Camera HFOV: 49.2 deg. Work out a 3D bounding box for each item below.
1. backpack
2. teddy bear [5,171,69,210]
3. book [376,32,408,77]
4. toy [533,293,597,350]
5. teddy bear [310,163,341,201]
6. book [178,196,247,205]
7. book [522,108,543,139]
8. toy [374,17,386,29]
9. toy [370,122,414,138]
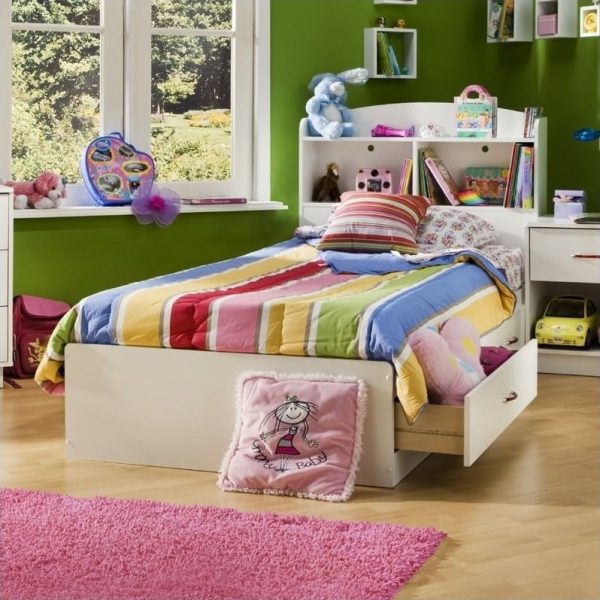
[{"bbox_3d":[-1.279,0.177,3.196,0.320,0.407,0.135,-5,10,-26],"label":"backpack"},{"bbox_3d":[-1.302,-0.538,3.293,0.343,0.154,0.225,-1,14,-8],"label":"teddy bear"},{"bbox_3d":[0.576,-1.479,4.000,0.268,0.239,0.062,-1,7,35],"label":"book"},{"bbox_3d":[1.366,0.121,3.365,0.236,0.190,0.424,0,2,26],"label":"toy"},{"bbox_3d":[0.144,-0.713,4.043,0.239,0.218,0.172,-7,2,22],"label":"teddy bear"},{"bbox_3d":[-0.494,-0.567,3.799,0.373,0.042,0.106,-5,10,-29],"label":"book"},{"bbox_3d":[1.250,-0.951,3.546,0.124,0.150,0.049,2,2,-45],"label":"book"},{"bbox_3d":[0.488,-1.667,3.941,0.060,0.052,0.058,0,2,6],"label":"toy"},{"bbox_3d":[0.544,-1.002,3.879,0.256,0.102,0.198,0,9,8],"label":"toy"}]
